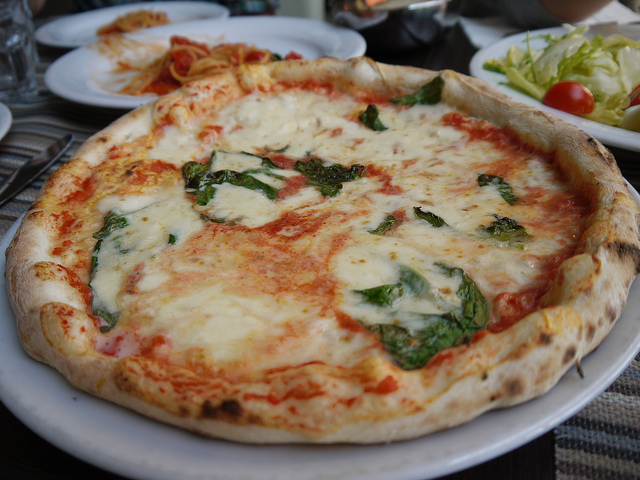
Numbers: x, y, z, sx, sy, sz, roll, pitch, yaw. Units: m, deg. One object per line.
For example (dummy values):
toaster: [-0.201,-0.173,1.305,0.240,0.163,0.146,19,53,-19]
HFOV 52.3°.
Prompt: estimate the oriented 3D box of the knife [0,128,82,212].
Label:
knife: [-1.064,-0.287,2.477,0.075,0.019,0.455,23,32,5]

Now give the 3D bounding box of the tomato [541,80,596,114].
tomato: [1.109,-0.641,2.875,0.213,0.171,0.138,4,40,12]
